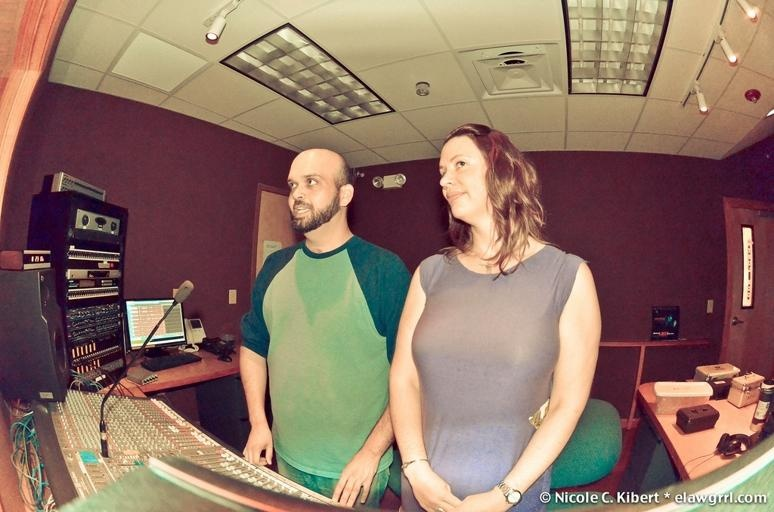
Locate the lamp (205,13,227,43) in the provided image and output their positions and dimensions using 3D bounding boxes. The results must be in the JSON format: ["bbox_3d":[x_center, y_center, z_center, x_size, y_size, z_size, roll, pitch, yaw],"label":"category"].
[{"bbox_3d":[-0.593,-0.785,1.723,0.057,0.076,0.074,4,-2,-20],"label":"lamp"}]

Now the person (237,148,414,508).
[{"bbox_3d":[-0.252,0.233,1.912,0.662,1.292,0.301,3,-2,-1],"label":"person"}]

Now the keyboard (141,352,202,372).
[{"bbox_3d":[-1.215,0.593,2.819,0.113,0.028,0.197,18,10,28],"label":"keyboard"}]
